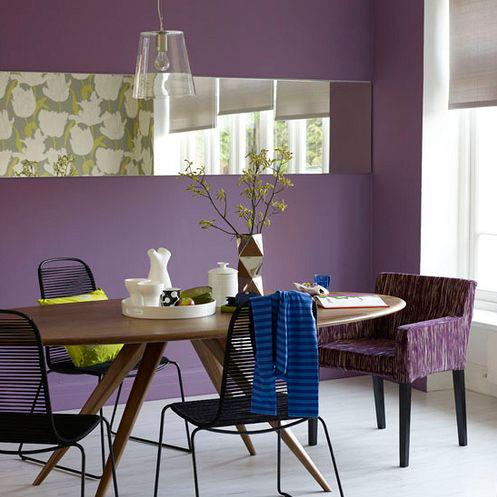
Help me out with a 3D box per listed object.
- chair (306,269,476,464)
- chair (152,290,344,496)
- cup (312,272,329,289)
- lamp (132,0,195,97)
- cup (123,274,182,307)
[{"bbox_3d":[0.698,0.475,3.118,0.806,1.314,0.852,1,-1,-44],"label":"chair"},{"bbox_3d":[0.023,0.495,1.811,0.496,0.752,0.563,0,5,32],"label":"chair"},{"bbox_3d":[0.367,0.162,2.715,0.085,0.107,0.086,0,1,0],"label":"cup"},{"bbox_3d":[-0.324,-0.713,1.984,0.229,0.270,0.187,-4,4,-12],"label":"lamp"},{"bbox_3d":[-0.371,0.172,2.083,0.102,0.125,0.166,-1,-6,18],"label":"cup"}]
